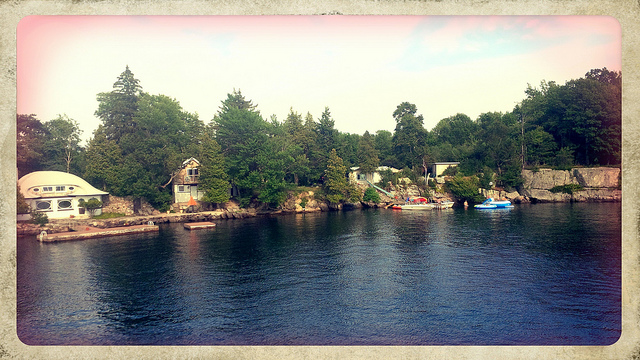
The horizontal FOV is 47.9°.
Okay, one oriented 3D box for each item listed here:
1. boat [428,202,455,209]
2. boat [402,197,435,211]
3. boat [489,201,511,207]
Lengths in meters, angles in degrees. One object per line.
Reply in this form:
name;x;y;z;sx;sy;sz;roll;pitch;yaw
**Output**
boat;27.367;5.899;162.228;5.766;1.514;1.589;-1;2;2
boat;22.248;5.554;163.316;6.828;2.693;5.168;-4;-2;12
boat;40.617;5.386;160.807;3.446;0.937;1.751;1;2;3
